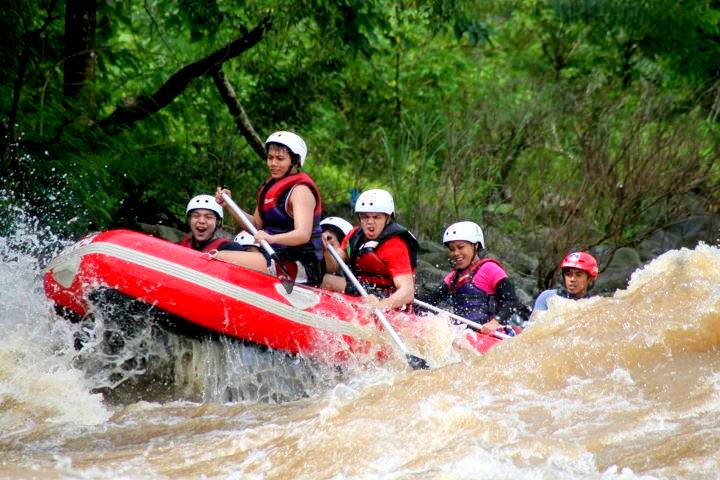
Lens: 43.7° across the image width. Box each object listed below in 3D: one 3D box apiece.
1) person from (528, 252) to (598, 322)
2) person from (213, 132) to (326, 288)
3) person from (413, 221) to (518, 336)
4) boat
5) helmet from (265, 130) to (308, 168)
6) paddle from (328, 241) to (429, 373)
[{"bbox_3d":[2.529,0.555,11.227,0.585,0.555,1.150,27,53,38],"label":"person"},{"bbox_3d":[-1.089,-0.144,10.130,1.440,2.209,1.123,2,3,-18],"label":"person"},{"bbox_3d":[1.308,0.539,11.428,0.700,0.756,1.260,16,52,-18],"label":"person"},{"bbox_3d":[-1.045,0.792,9.665,3.891,0.734,2.017,22,-5,-21],"label":"boat"},{"bbox_3d":[-0.823,-1.034,10.134,0.328,0.375,0.448,14,21,14],"label":"helmet"},{"bbox_3d":[0.172,0.790,10.061,0.123,0.272,1.730,-13,60,-46],"label":"paddle"}]
